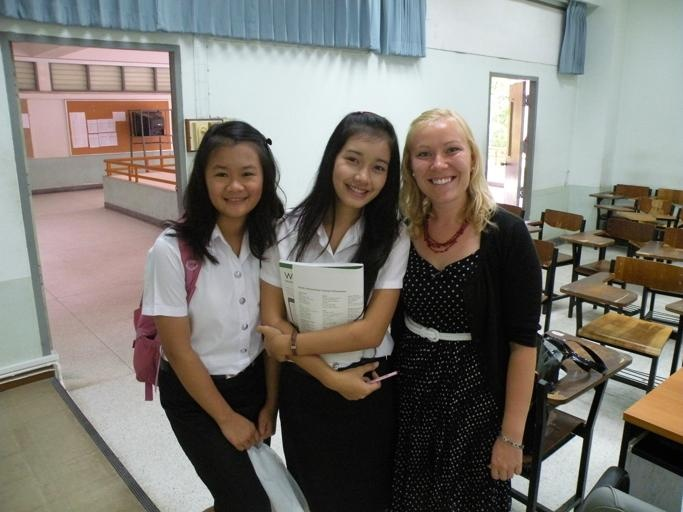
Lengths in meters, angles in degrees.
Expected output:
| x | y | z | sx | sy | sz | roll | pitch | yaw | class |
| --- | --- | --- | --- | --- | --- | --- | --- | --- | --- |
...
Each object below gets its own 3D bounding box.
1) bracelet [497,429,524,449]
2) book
| x | y | z | sx | sy | sz | roll | pitch | yaw | class |
| --- | --- | --- | --- | --- | --- | --- | --- | --- | --- |
| 0.673 | 0.727 | 1.986 | 0.065 | 0.024 | 0.064 | 23 | 4 | 20 | bracelet |
| -0.072 | 0.215 | 1.912 | 0.369 | 0.519 | 0.066 | -3 | 22 | 8 | book |
